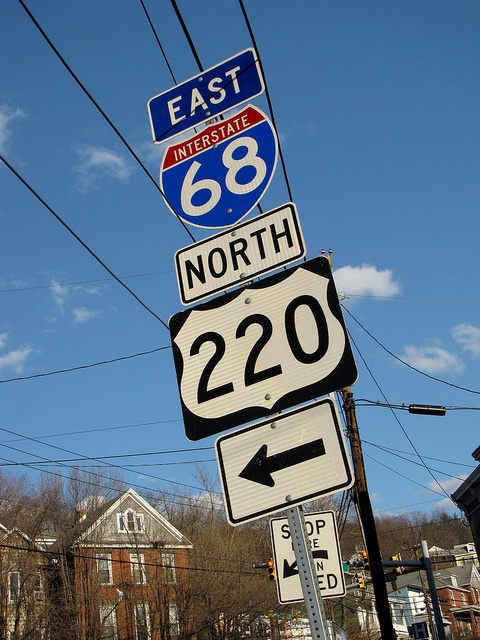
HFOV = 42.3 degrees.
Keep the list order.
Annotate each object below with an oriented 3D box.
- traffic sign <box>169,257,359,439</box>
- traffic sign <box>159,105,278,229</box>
[{"bbox_3d":[0.096,0.131,2.496,0.581,0.520,0.026,-27,-35,19],"label":"traffic sign"},{"bbox_3d":[-0.108,-0.802,3.411,0.708,0.929,0.045,-21,-38,8],"label":"traffic sign"}]
